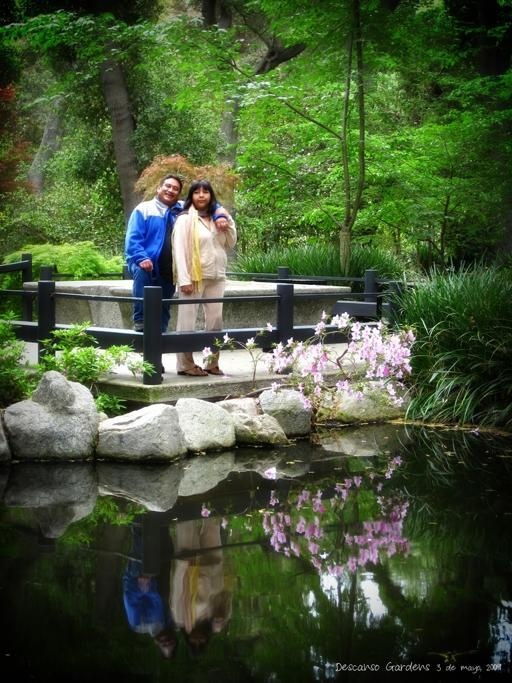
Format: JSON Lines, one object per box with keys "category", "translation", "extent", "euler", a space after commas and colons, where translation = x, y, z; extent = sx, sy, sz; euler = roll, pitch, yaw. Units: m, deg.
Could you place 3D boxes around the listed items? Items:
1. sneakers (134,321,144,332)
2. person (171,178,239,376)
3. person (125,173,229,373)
{"category": "sneakers", "translation": [-1.023, -0.123, 5.693], "extent": [0.066, 0.076, 0.175], "euler": [2, -4, -28]}
{"category": "person", "translation": [-0.420, -0.484, 5.382], "extent": [0.514, 1.602, 0.536], "euler": [-2, 13, -6]}
{"category": "person", "translation": [-0.526, -0.546, 5.484], "extent": [1.010, 1.778, 0.624], "euler": [-6, -13, -7]}
